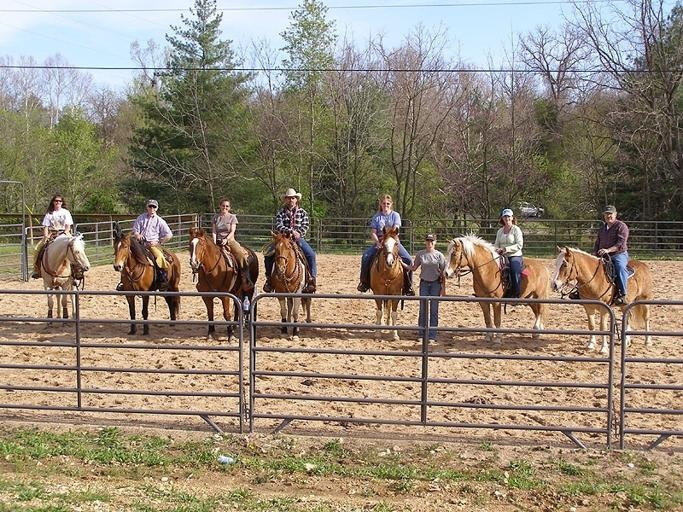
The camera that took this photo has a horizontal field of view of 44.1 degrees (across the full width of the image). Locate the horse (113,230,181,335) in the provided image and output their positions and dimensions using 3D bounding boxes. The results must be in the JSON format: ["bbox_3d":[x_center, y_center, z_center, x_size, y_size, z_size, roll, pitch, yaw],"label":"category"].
[{"bbox_3d":[-4.178,0.615,18.404,0.698,2.230,2.873,-2,-2,16],"label":"horse"}]

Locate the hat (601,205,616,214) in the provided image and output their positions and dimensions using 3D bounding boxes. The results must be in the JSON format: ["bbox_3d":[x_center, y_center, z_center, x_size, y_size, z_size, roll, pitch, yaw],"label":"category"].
[{"bbox_3d":[5.400,-0.924,16.976,0.181,0.163,0.349,-2,-1,24],"label":"hat"}]

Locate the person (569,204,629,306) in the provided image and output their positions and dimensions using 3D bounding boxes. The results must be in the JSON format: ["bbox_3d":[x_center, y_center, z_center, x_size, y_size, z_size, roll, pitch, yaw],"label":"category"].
[{"bbox_3d":[5.432,-0.039,17.127,1.062,1.762,1.035,-17,23,-34],"label":"person"}]

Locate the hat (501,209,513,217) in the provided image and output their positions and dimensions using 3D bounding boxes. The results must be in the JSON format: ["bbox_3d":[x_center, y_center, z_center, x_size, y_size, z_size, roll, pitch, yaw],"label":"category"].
[{"bbox_3d":[3.430,-0.883,17.454,0.198,0.170,0.583,-2,-1,14],"label":"hat"}]

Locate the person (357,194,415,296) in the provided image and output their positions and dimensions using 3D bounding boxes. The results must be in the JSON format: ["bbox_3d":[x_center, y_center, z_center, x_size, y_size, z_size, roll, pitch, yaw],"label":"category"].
[{"bbox_3d":[0.994,-0.225,17.765,1.150,2.170,1.147,5,23,13],"label":"person"}]

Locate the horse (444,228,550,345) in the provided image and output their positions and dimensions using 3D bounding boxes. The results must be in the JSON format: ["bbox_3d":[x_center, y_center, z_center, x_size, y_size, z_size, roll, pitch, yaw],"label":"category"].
[{"bbox_3d":[3.418,0.740,17.542,2.928,2.164,0.666,1,-3,-33],"label":"horse"}]

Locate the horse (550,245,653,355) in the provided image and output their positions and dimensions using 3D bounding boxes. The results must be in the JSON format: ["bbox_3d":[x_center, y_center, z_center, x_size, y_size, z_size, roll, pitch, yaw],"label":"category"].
[{"bbox_3d":[5.439,0.917,17.341,2.789,2.178,0.701,-1,4,-27],"label":"horse"}]

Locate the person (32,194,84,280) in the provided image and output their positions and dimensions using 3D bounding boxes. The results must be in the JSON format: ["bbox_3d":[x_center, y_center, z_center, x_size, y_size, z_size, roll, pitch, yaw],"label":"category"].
[{"bbox_3d":[-6.483,-0.395,18.920,0.825,1.983,0.654,1,-16,-10],"label":"person"}]

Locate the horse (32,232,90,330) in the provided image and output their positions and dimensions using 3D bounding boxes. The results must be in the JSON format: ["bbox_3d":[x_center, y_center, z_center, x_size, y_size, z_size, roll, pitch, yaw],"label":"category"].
[{"bbox_3d":[-6.400,0.572,18.770,0.733,1.910,2.559,-6,7,-42],"label":"horse"}]
